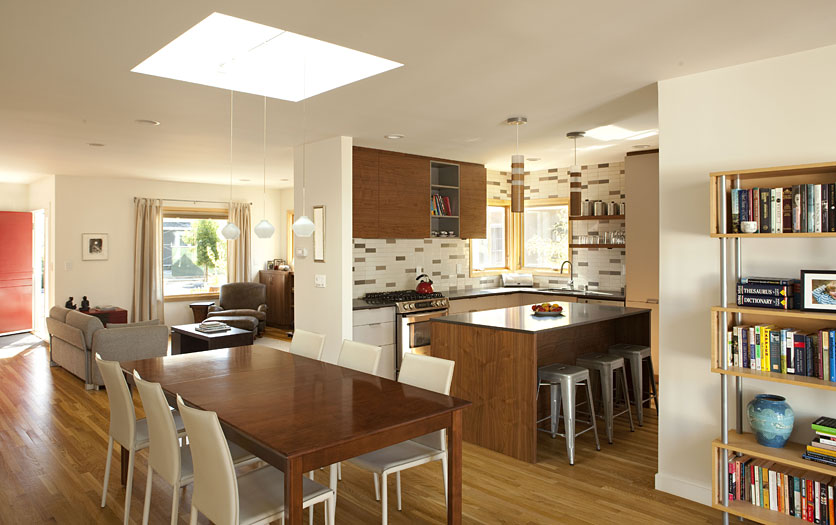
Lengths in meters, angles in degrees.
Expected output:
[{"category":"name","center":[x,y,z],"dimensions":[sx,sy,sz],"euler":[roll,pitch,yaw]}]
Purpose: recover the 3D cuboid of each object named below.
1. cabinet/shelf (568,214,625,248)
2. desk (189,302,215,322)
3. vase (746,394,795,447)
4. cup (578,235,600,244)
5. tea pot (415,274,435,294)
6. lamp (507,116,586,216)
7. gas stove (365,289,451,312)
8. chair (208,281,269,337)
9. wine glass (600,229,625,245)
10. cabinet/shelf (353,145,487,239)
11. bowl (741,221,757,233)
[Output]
[{"category":"cabinet/shelf","center":[2.729,-0.471,8.552],"dimensions":[0.360,0.548,1.271],"euler":[9,0,-7]},{"category":"desk","center":[-4.235,0.962,10.719],"dimensions":[0.446,0.442,0.462],"euler":[-1,2,-39]},{"category":"vase","center":[2.788,1.270,4.512],"dimensions":[0.371,0.434,0.371],"euler":[0,-2,-14]},{"category":"cup","center":[2.649,-0.332,8.496],"dimensions":[0.296,0.120,0.283],"euler":[2,11,0]},{"category":"tea pot","center":[0.095,0.347,8.266],"dimensions":[0.245,0.249,0.287],"euler":[2,-4,-36]},{"category":"lamp","center":[1.554,-1.138,6.713],"dimensions":[0.892,1.113,2.387],"euler":[6,12,16]},{"category":"gas stove","center":[-0.206,0.572,7.778],"dimensions":[1.272,0.183,0.681],"euler":[-3,12,-22]},{"category":"chair","center":[-3.423,0.943,10.617],"dimensions":[1.052,1.067,0.921],"euler":[1,-4,-17]},{"category":"wine glass","center":[2.982,-0.363,8.398],"dimensions":[0.132,0.217,0.240],"euler":[11,-14,-33]},{"category":"cabinet/shelf","center":[0.088,-0.931,8.236],"dimensions":[0.374,1.206,2.839],"euler":[6,6,45]},{"category":"bowl","center":[2.640,-0.270,4.386],"dimensions":[0.091,0.076,0.097],"euler":[0,-2,0]}]
